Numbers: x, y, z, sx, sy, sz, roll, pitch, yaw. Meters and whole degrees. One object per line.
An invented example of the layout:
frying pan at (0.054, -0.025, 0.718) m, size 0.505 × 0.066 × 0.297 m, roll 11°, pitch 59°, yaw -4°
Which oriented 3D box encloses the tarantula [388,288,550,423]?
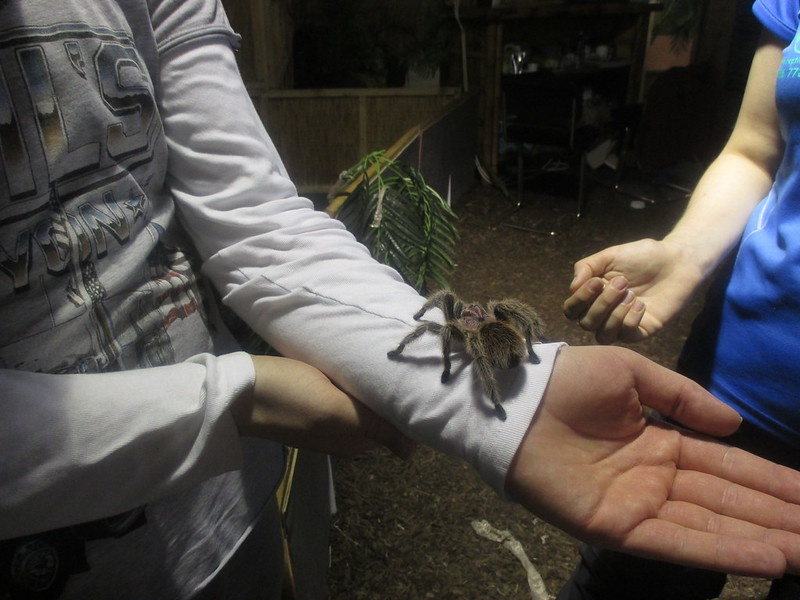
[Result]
tarantula at (0.098, 0.059, 0.817) m, size 0.201 × 0.096 × 0.299 m, roll -16°, pitch 28°, yaw -14°
